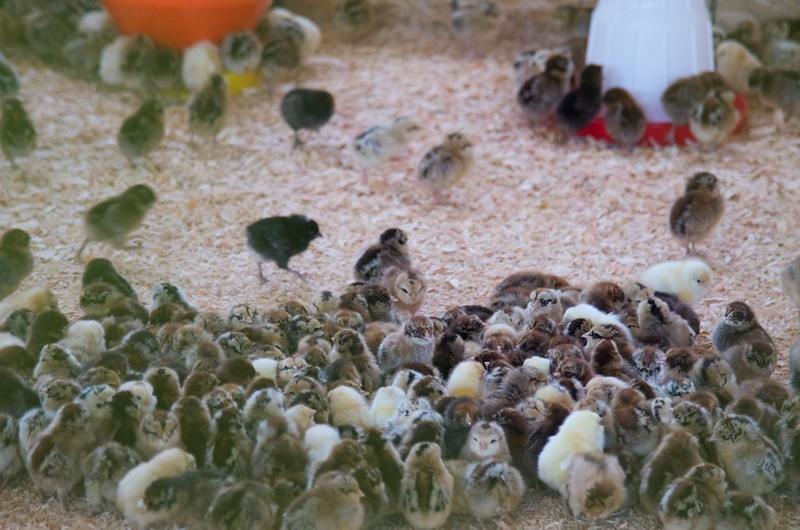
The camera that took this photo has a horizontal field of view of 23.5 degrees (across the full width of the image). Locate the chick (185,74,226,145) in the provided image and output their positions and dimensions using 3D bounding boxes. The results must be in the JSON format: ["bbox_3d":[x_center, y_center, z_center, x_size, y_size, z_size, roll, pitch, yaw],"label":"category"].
[{"bbox_3d":[-0.968,-0.811,9.894,0.174,0.319,0.313,17,61,-11],"label":"chick"}]

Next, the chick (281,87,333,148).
[{"bbox_3d":[-0.480,-0.804,9.880,0.302,0.246,0.102,-38,5,-21],"label":"chick"}]

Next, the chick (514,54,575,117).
[{"bbox_3d":[0.744,-0.895,9.864,0.252,0.321,0.127,21,30,-25],"label":"chick"}]

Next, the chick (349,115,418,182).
[{"bbox_3d":[-0.058,-0.622,9.932,0.407,0.097,0.232,-27,34,6],"label":"chick"}]

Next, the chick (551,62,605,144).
[{"bbox_3d":[0.917,-0.828,9.916,0.145,0.427,0.179,19,32,-7],"label":"chick"}]

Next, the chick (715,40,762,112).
[{"bbox_3d":[1.733,-1.022,9.906,0.266,0.096,0.402,4,39,14],"label":"chick"}]

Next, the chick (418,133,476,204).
[{"bbox_3d":[0.235,-0.498,9.821,0.339,0.337,0.199,-6,29,4],"label":"chick"}]
